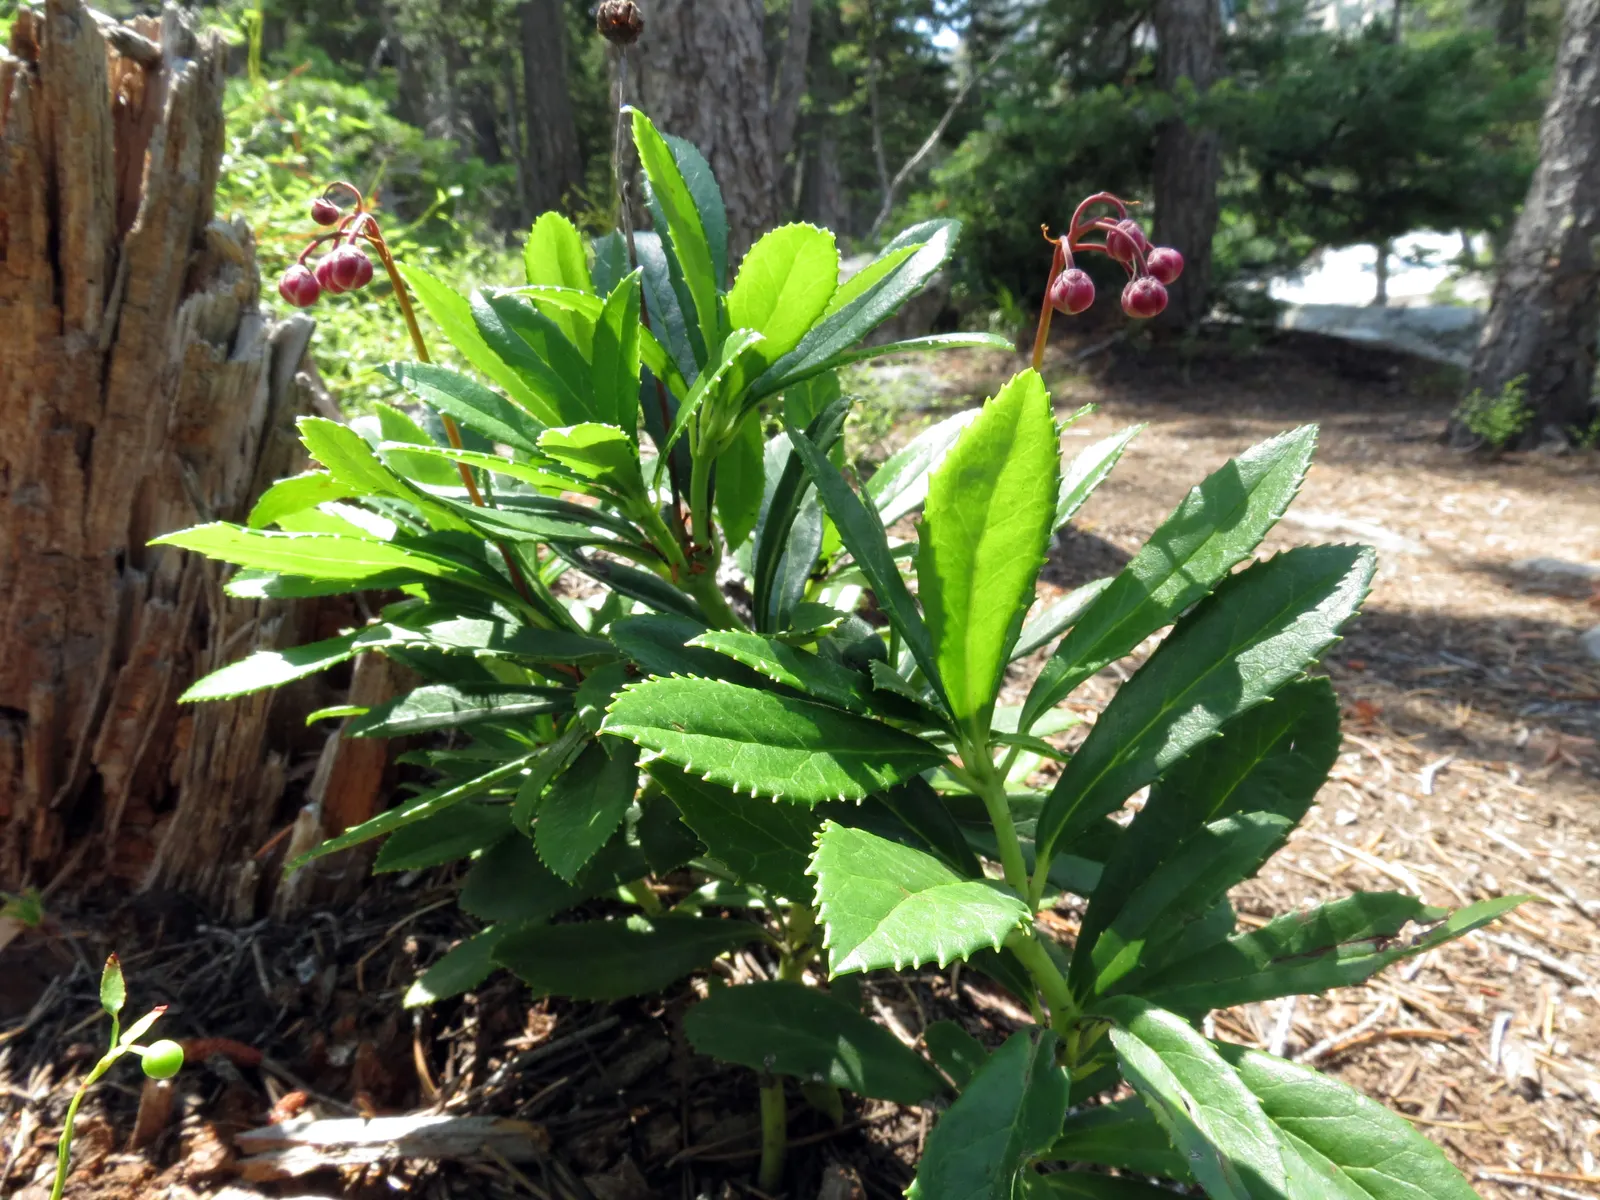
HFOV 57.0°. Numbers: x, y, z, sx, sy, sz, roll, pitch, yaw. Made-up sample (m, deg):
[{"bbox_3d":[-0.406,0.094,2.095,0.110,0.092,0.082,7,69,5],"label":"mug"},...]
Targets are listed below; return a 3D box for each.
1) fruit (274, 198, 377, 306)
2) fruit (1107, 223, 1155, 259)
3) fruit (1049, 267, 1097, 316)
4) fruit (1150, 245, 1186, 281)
[{"bbox_3d":[-1.379,-1.032,4.336,0.275,0.311,0.389,1,17,-14],"label":"fruit"},{"bbox_3d":[0.941,-1.037,4.267,0.108,0.115,0.069,-7,13,2],"label":"fruit"},{"bbox_3d":[0.772,-0.884,4.187,0.136,0.117,0.098,3,17,-7],"label":"fruit"},{"bbox_3d":[1.050,-0.979,4.299,0.113,0.099,0.117,-2,12,39],"label":"fruit"}]
